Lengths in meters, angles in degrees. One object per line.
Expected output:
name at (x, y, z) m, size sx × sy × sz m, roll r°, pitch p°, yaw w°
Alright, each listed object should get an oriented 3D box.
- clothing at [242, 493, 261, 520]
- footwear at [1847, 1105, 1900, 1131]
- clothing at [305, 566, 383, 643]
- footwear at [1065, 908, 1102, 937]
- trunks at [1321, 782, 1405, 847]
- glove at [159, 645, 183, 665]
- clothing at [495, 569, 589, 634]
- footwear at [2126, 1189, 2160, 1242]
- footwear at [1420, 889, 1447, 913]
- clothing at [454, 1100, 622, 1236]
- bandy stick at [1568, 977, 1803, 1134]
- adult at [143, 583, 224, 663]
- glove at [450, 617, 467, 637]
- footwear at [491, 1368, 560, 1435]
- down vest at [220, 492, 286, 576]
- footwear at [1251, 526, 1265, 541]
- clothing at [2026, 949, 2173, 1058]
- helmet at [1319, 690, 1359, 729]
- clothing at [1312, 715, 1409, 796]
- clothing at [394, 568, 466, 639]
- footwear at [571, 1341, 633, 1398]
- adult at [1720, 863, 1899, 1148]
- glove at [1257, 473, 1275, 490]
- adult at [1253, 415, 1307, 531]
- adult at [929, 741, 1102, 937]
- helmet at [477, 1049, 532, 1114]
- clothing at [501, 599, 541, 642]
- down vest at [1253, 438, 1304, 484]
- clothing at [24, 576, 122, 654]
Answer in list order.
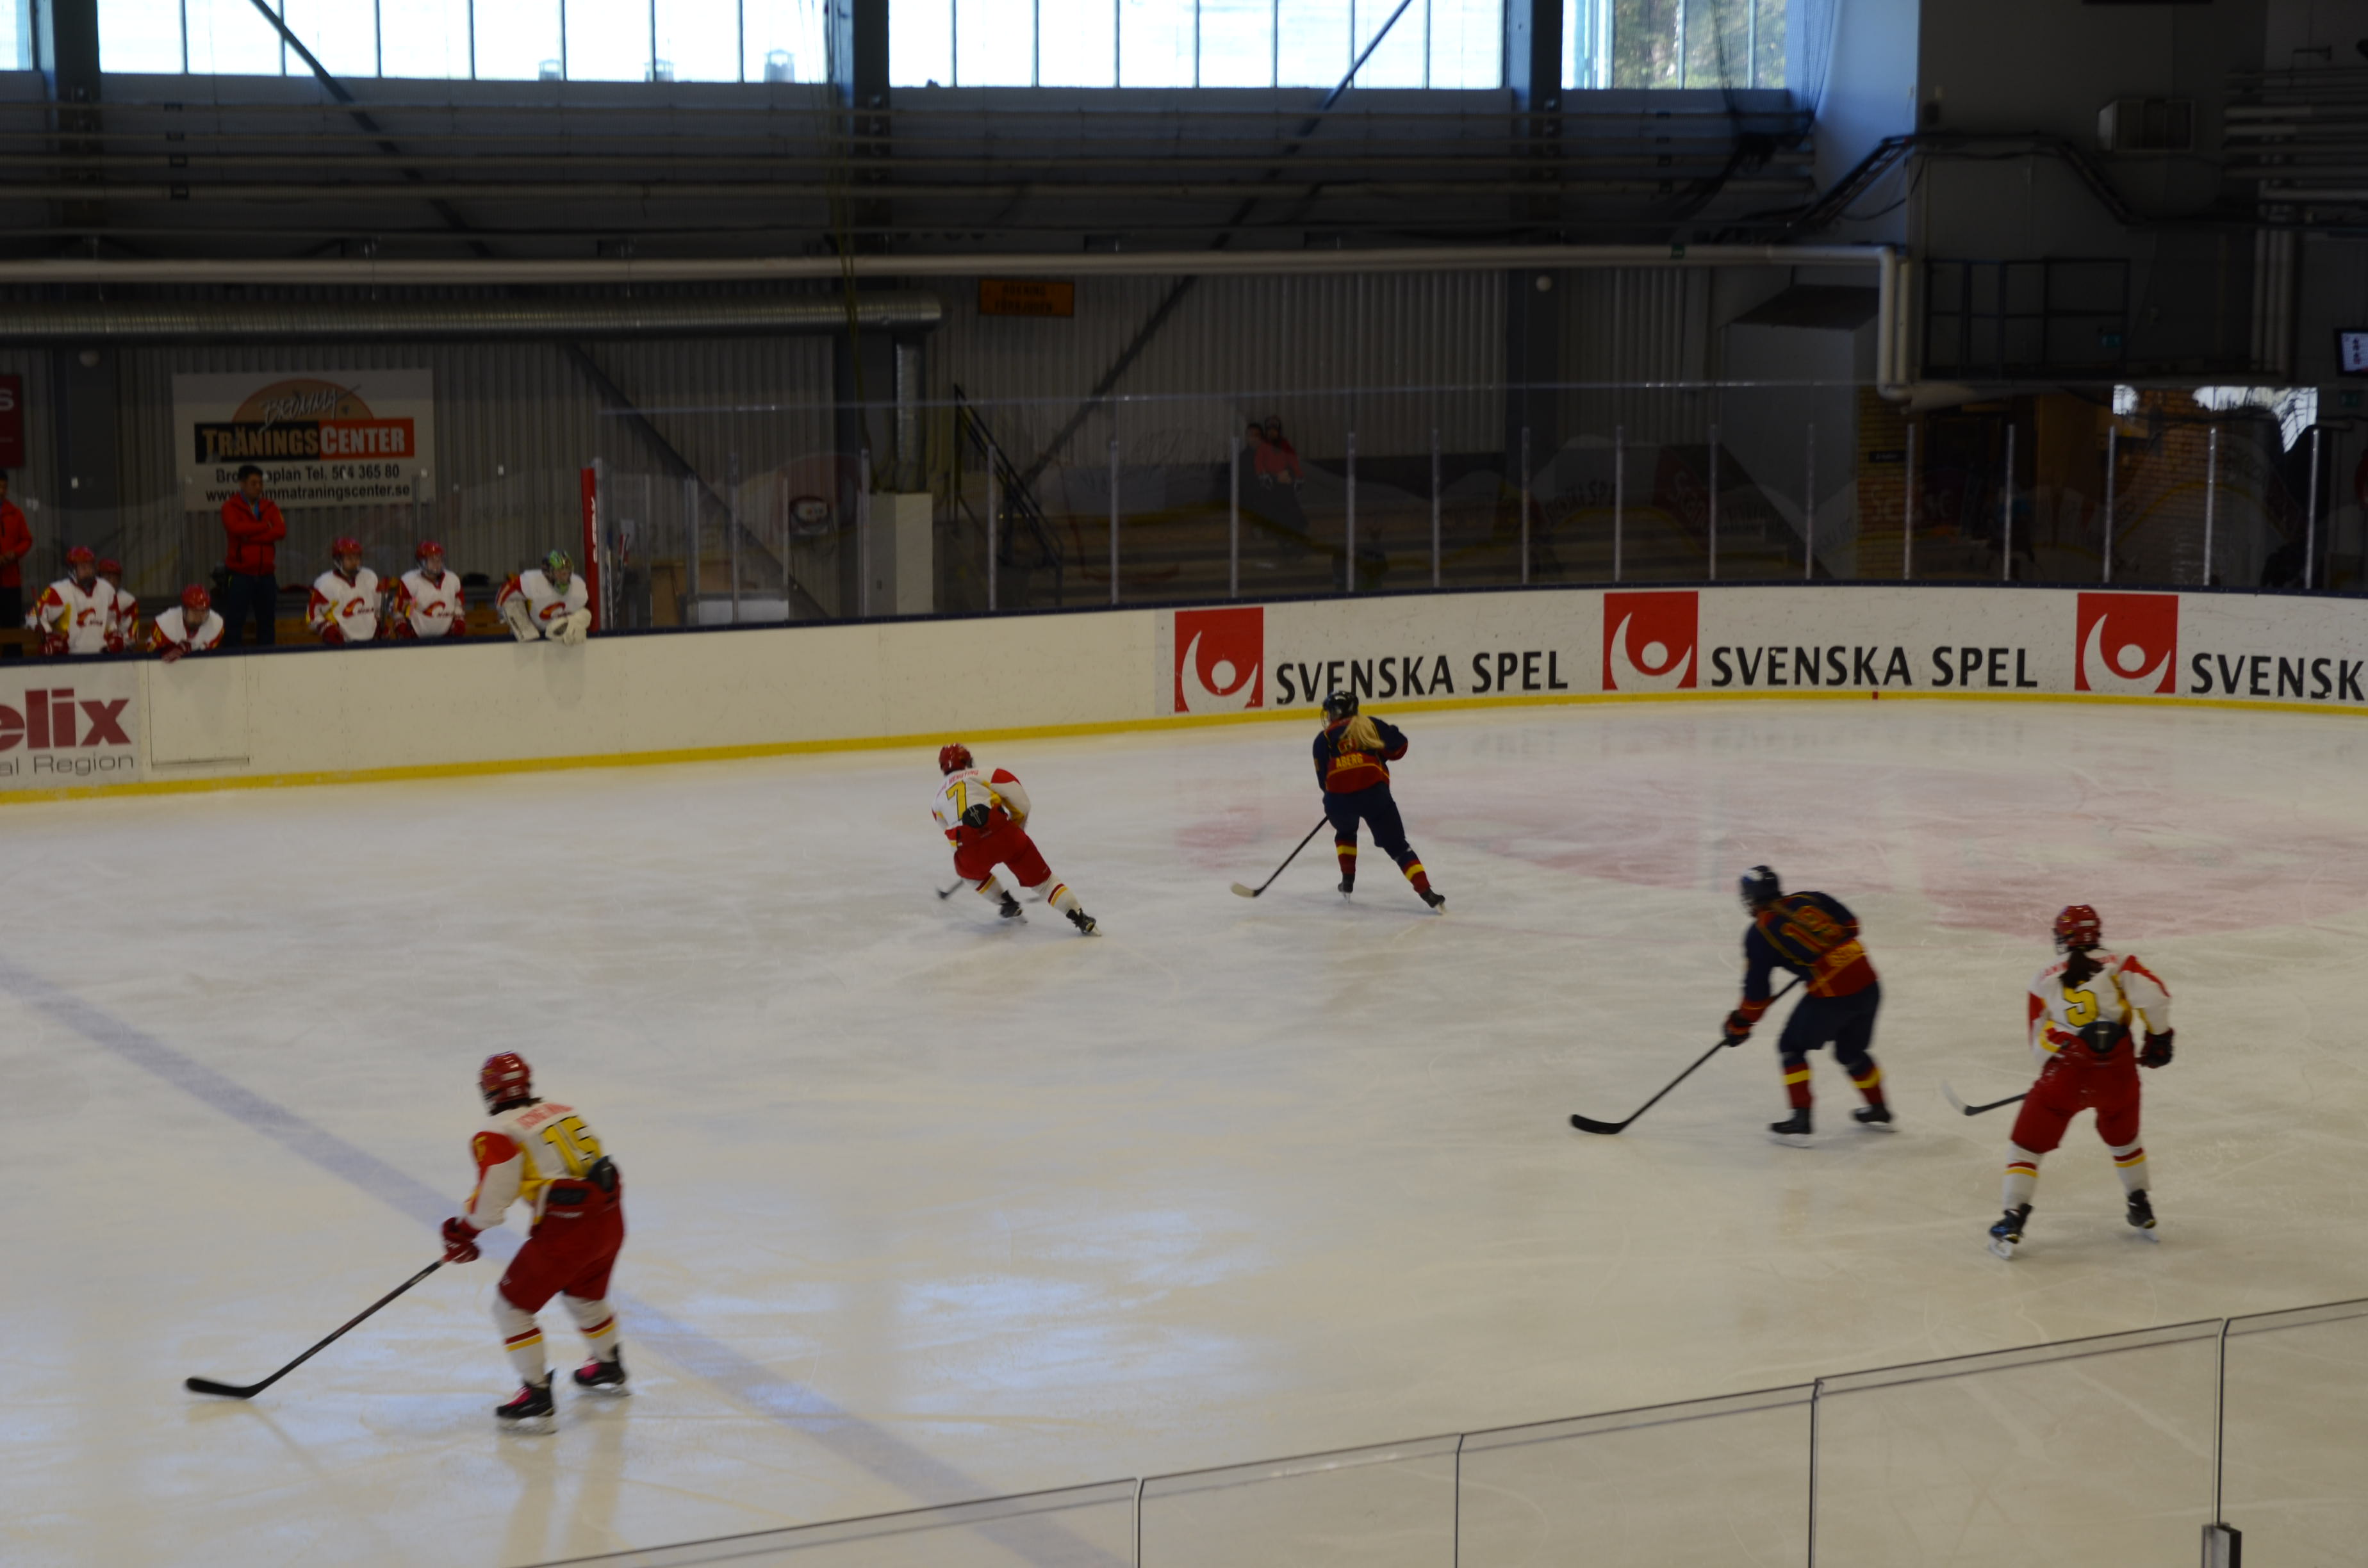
clothing at (-8.151, -2.427, 34.511) m, size 0.173 × 0.205 × 0.104 m, roll -8°, pitch 8°, yaw -37°
footwear at (4.649, 2.232, 26.611) m, size 0.341 × 0.251 × 0.118 m, roll 5°, pitch 5°, yaw 28°
clothing at (-7.304, -1.545, 34.339) m, size 0.677 × 0.639 × 0.384 m, roll -10°, pitch 18°, yaw -38°
footwear at (-0.771, 1.026, 29.714) m, size 0.181 × 0.124 × 0.240 m, roll 8°, pitch 16°, yaw -44°
trunks at (1.357, 0.232, 30.495) m, size 0.500 × 0.234 × 0.620 m, roll -9°, pitch -32°, yaw 21°
glove at (-8.543, -1.096, 33.261) m, size 0.183 × 0.113 × 0.061 m, roll -20°, pitch -23°, yaw -33°
clothing at (-5.619, -1.567, 34.276) m, size 0.506 × 0.669 × 0.315 m, roll 17°, pitch -35°, yaw -19°
footwear at (6.162, 2.764, 25.440) m, size 0.172 × 0.335 × 0.321 m, roll -5°, pitch -3°, yaw 16°
footwear at (1.906, 0.883, 30.243) m, size 0.108 × 0.118 × 0.281 m, roll 45°, pitch 4°, yaw 38°
clothing at (-4.027, 2.241, 23.821) m, size 1.068 × 0.739 × 0.681 m, roll -27°, pitch 12°, yaw -34°
bandy stick at (3.477, 1.910, 27.291) m, size 1.545 × 0.257 × 0.175 m, roll -35°, pitch 5°, yaw 12°
adult at (-8.601, -1.364, 33.929) m, size 0.394 × 0.609 × 0.630 m, roll 32°, pitch 32°, yaw 35°
glove at (-6.356, -1.373, 34.460) m, size 0.150 × 0.161 × 0.165 m, roll 1°, pitch -3°, yaw -8°
footwear at (-3.966, 3.764, 23.897) m, size 0.543 × 0.395 × 0.185 m, roll 4°, pitch -9°, yaw 4°
down vest at (-8.186, -2.192, 34.641) m, size 0.480 × 0.700 × 0.357 m, roll -5°, pitch 6°, yaw -16°
footwear at (0.688, -2.338, 36.862) m, size 0.113 × 0.113 × 0.114 m, roll -6°, pitch 11°, yaw -37°
clothing at (5.791, 1.402, 25.146) m, size 0.954 × 0.789 × 0.454 m, roll -15°, pitch -1°, yaw 35°
helmet at (1.183, -0.572, 30.111) m, size 0.209 × 0.238 × 0.386 m, roll -3°, pitch 6°, yaw -2°
clothing at (1.385, -0.270, 30.203) m, size 0.613 × 0.606 × 0.627 m, roll -21°, pitch -47°, yaw 27°
clothing at (-6.577, -1.549, 34.331) m, size 0.599 × 0.616 × 0.348 m, roll -4°, pitch 7°, yaw -30°
footwear at (-3.572, 3.576, 24.139) m, size 0.396 × 0.260 × 0.223 m, roll 9°, pitch -10°, yaw -39°
adult at (4.201, 1.416, 26.659) m, size 1.088 × 1.796 × 1.235 m, roll -1°, pitch 10°, yaw 8°
glove at (0.760, -2.830, 36.911) m, size 0.136 × 0.103 × 0.139 m, roll -2°, pitch 9°, yaw -12°
adult at (0.905, -2.879, 37.036) m, size 0.455 × 1.301 × 0.313 m, roll -5°, pitch 31°, yaw 1°
adult at (-1.232, 0.617, 29.867) m, size 0.717 × 0.594 × 2.088 m, roll -31°, pitch -42°, yaw 6°
helmet at (-4.139, 1.763, 23.909) m, size 0.344 × 0.421 × 0.427 m, roll -5°, pitch 8°, yaw -16°
clothing at (-5.774, -1.422, 34.265) m, size 0.258 × 0.424 × 0.166 m, roll -33°, pitch 10°, yaw -25°
down vest at (0.856, -3.015, 37.041) m, size 0.438 × 0.451 × 0.161 m, roll -4°, pitch 8°, yaw -19°
clothing at (-9.438, -1.417, 33.610) m, size 0.628 × 0.618 × 0.346 m, roll -8°, pitch 16°, yaw -36°
